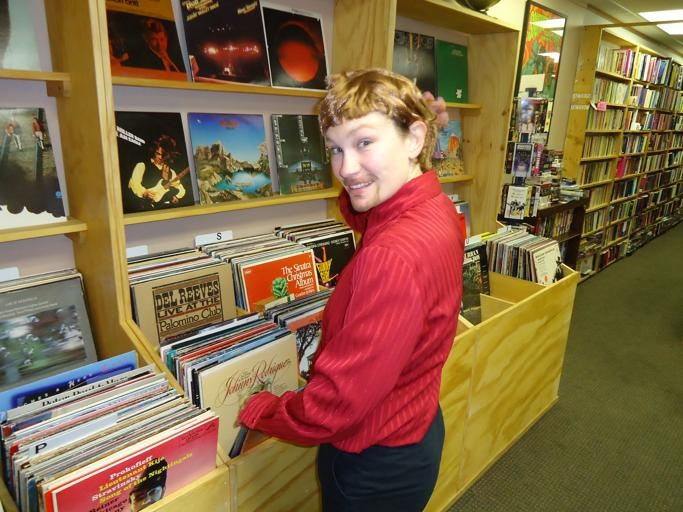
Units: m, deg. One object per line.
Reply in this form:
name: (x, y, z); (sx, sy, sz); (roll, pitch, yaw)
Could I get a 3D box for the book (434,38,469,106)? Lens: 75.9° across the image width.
book: (0.748, -1.194, 2.835); (0.019, 0.380, 0.301); (-8, 14, 33)

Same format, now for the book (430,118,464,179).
book: (0.682, -0.702, 2.835); (0.036, 0.350, 0.396); (11, 19, 42)

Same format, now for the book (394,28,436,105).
book: (0.426, -1.152, 2.616); (0.288, 0.361, 0.018); (28, 53, 32)
